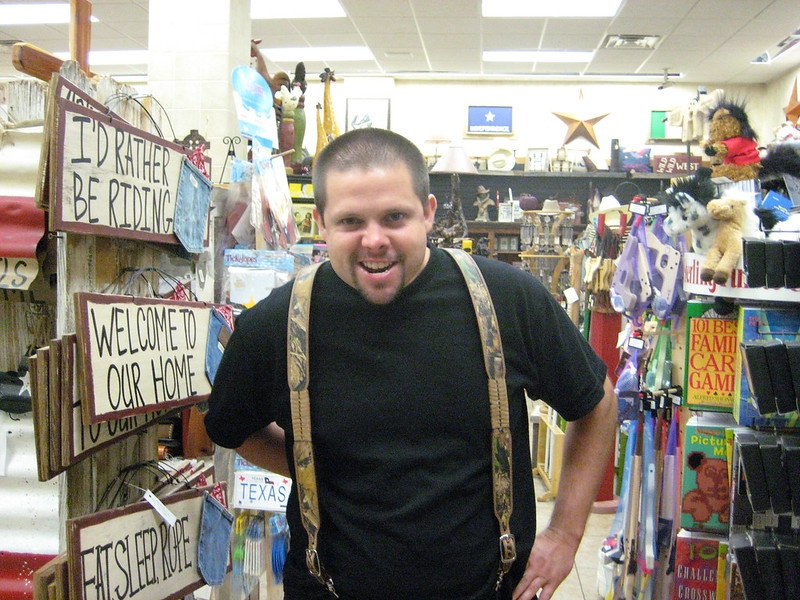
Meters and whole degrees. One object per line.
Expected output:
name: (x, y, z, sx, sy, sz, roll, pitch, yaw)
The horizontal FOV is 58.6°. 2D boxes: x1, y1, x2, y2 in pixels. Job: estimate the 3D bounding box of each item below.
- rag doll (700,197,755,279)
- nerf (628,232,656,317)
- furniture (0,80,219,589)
rag doll: (1.202, -0.223, 2.639, 0.167, 0.308, 0.153, 2, 5, 13)
nerf: (1.098, -0.124, 3.217, 0.062, 0.476, 0.110, 5, -12, -27)
furniture: (-0.845, 0.005, 2.128, 0.318, 1.222, 0.643, 3, 5, 25)
